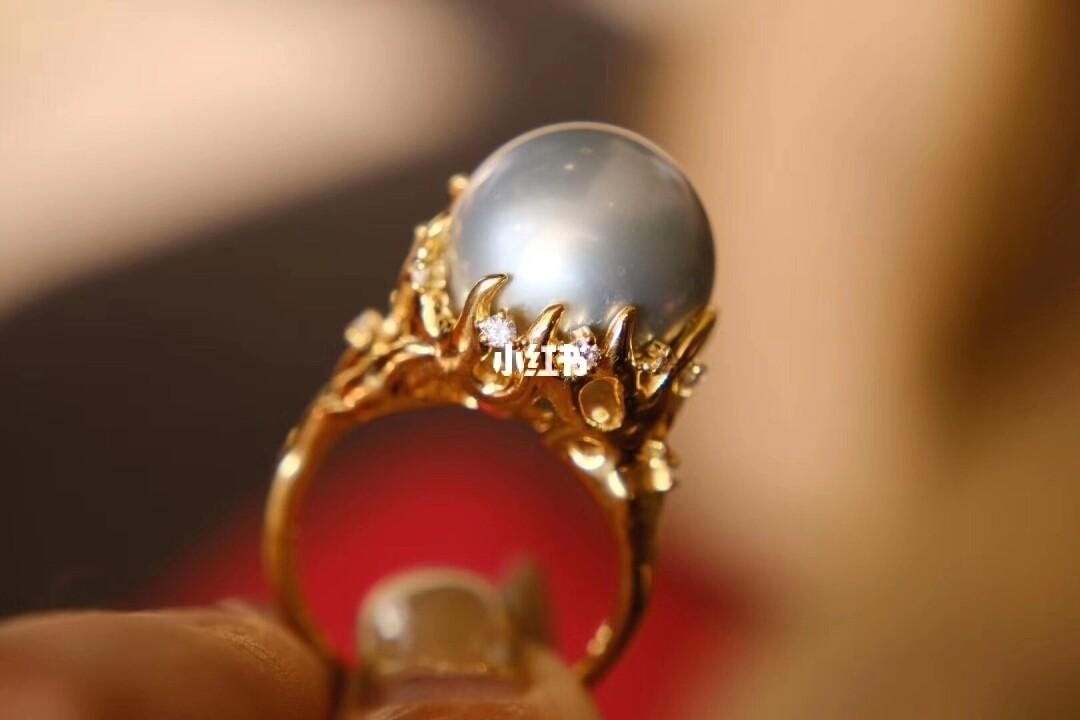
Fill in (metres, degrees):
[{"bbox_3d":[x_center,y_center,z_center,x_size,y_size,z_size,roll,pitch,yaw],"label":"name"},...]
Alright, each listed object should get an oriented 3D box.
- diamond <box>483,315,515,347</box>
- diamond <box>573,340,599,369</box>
[{"bbox_3d":[-0.043,-0.029,1.144,0.026,0.031,0.012,-21,15,11],"label":"diamond"},{"bbox_3d":[0.045,-0.005,1.140,0.023,0.022,0.017,3,-18,-8],"label":"diamond"}]
